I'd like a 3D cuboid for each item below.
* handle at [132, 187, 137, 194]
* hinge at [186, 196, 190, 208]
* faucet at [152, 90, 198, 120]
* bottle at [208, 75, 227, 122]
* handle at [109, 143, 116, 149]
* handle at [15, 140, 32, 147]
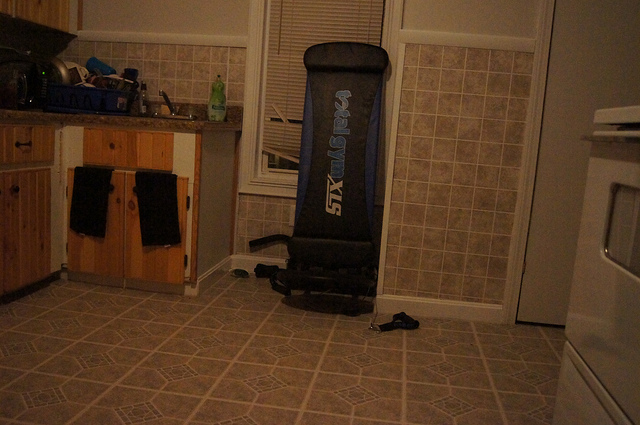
[{"bbox_3d":[-1.365,-0.163,3.833,0.032,0.034,0.013,-4,11,-16],"label":"handle"},{"bbox_3d":[-0.976,-0.074,3.840,0.024,0.077,0.013,-2,14,-16],"label":"hinge"},{"bbox_3d":[-1.177,-0.858,4.135,0.306,0.193,0.620,-3,16,-18],"label":"faucet"},{"bbox_3d":[-0.845,-0.946,4.324,0.117,0.362,0.202,6,14,15],"label":"bottle"},{"bbox_3d":[-1.538,-0.491,3.849,0.035,0.036,0.009,-14,1,5],"label":"handle"},{"bbox_3d":[-2.057,-0.473,3.607,0.009,0.047,0.138,6,16,16],"label":"handle"}]
